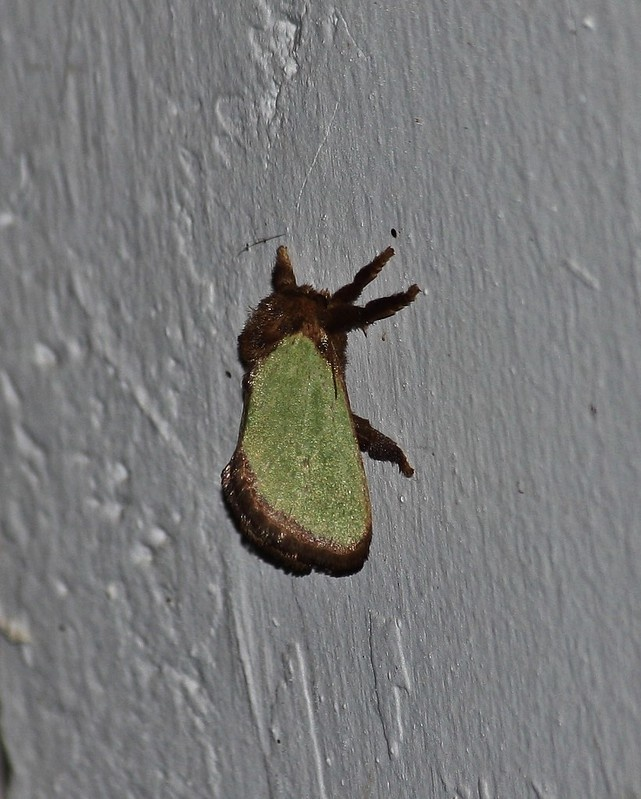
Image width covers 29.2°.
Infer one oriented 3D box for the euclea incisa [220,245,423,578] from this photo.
[{"bbox_3d":[-0.015,0.031,1.395,0.154,0.256,0.448,4,90,2],"label":"euclea incisa"}]
